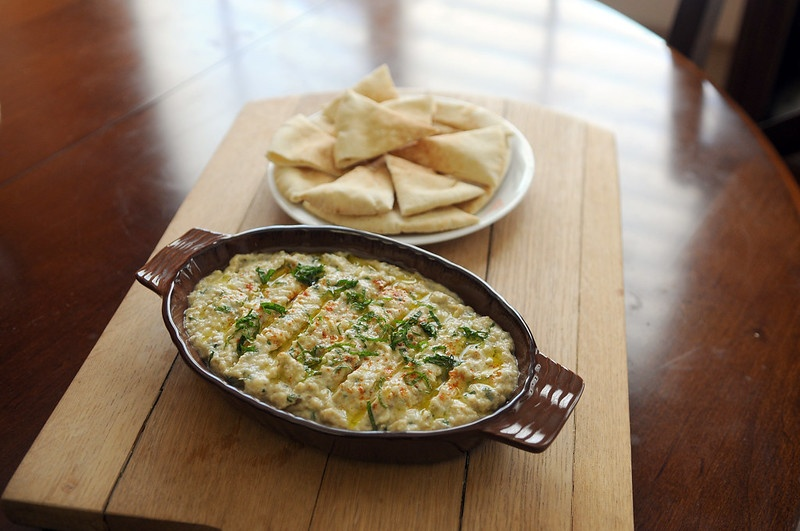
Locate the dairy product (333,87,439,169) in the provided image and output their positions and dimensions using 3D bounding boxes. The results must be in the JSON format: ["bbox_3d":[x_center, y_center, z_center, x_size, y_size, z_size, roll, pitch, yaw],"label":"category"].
[{"bbox_3d":[-0.097,-0.650,2.821,0.376,0.118,0.373,-2,53,-6],"label":"dairy product"}]

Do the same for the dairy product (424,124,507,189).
[{"bbox_3d":[0.311,-0.532,2.825,0.314,0.095,0.295,19,54,13],"label":"dairy product"}]
